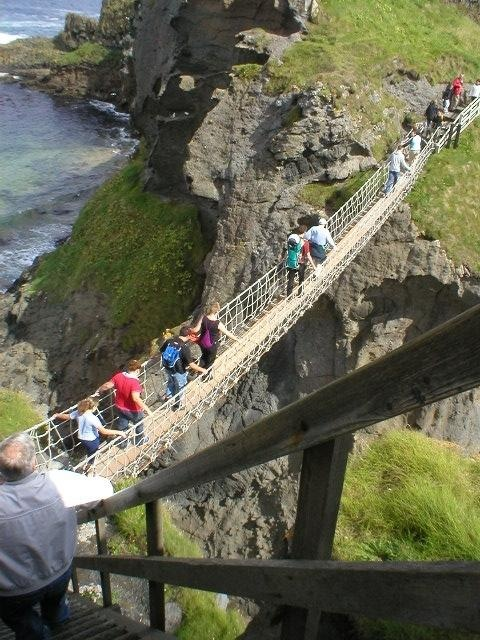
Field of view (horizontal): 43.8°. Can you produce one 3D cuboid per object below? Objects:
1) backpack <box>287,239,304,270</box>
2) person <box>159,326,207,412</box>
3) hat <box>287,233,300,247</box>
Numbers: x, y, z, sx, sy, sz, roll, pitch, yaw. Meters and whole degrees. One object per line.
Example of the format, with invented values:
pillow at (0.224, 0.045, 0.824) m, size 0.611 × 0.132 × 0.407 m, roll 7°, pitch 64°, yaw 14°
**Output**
backpack at (0.786, -0.959, 8.724) m, size 0.227 × 0.444 × 0.248 m, roll 11°, pitch 32°, yaw 1°
person at (-0.711, 0.593, 6.956) m, size 0.404 × 1.350 × 0.477 m, roll 24°, pitch 35°, yaw 20°
hat at (0.778, -1.173, 8.739) m, size 0.236 × 0.159 × 0.297 m, roll 0°, pitch 14°, yaw 5°
